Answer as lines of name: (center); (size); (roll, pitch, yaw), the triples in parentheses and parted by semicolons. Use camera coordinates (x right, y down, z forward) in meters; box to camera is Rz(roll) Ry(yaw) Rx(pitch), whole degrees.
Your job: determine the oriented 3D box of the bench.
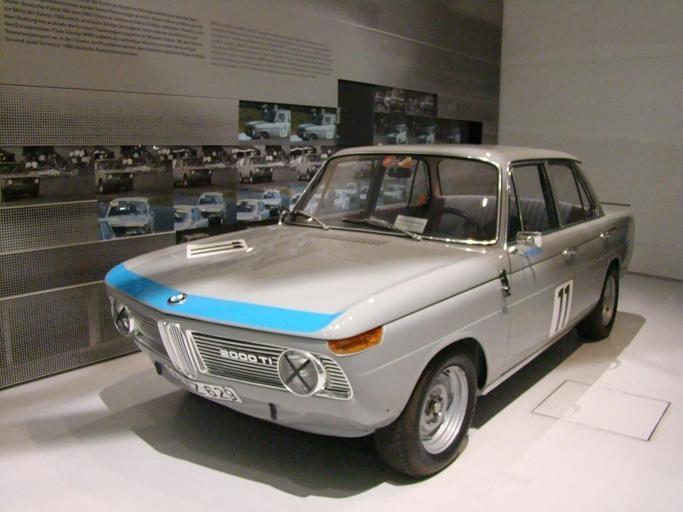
bench: (1.218, -0.301, 3.196); (0.573, 0.204, 0.828); (6, 10, 44)
